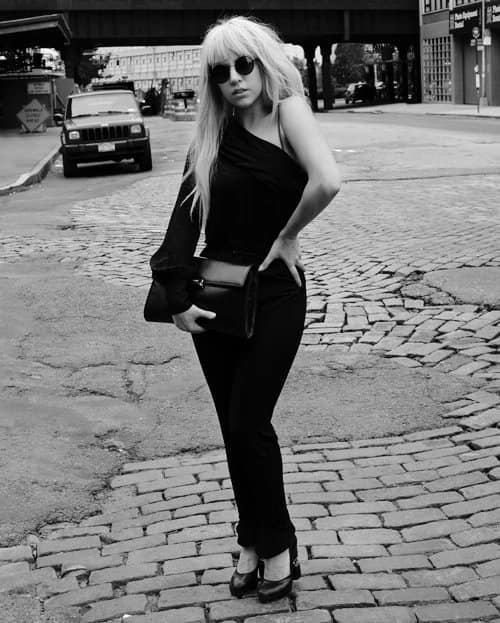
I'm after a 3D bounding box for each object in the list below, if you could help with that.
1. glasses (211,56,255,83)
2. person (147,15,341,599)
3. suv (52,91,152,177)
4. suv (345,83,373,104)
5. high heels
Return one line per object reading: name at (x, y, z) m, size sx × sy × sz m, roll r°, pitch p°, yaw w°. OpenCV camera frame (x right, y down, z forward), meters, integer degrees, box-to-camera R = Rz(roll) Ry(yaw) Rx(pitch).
glasses at (-0.064, -0.693, 1.991) m, size 0.160 × 0.073 × 0.074 m, roll 7°, pitch 15°, yaw 38°
person at (-0.012, 0.000, 2.061) m, size 0.596 × 1.734 × 0.416 m, roll -1°, pitch 12°, yaw 13°
suv at (-3.641, -4.662, 17.235) m, size 1.780 × 1.341 × 2.931 m, roll -5°, pitch 8°, yaw -8°
suv at (9.400, -19.016, 59.833) m, size 1.729 × 1.338 × 2.721 m, roll -3°, pitch 17°, yaw 1°
high heels at (0.046, 0.795, 2.078) m, size 0.149 × 0.080 × 0.219 m, roll 0°, pitch 7°, yaw 36°
